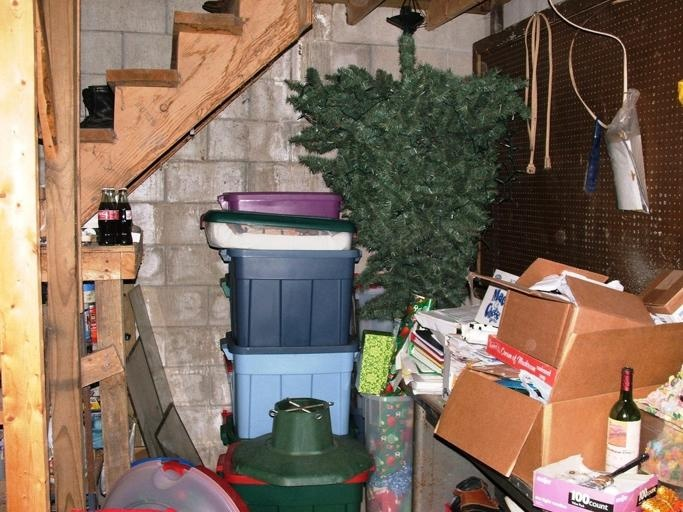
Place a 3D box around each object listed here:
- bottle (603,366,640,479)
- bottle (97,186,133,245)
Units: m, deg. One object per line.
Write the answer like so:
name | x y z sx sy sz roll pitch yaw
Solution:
bottle | 1.022 0.584 2.762 0.119 0.378 0.125 0 8 0
bottle | -1.074 -0.192 3.590 0.159 0.266 0.232 -3 8 -18
